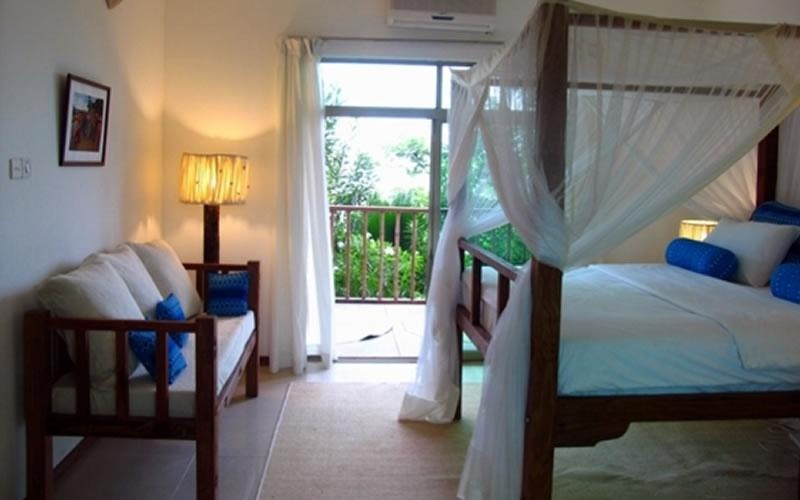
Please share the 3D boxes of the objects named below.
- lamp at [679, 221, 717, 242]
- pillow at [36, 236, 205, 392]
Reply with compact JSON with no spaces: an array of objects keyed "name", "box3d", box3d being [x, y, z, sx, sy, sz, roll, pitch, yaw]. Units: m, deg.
[{"name":"lamp","box3d":[2.651,-0.170,4.990,0.220,0.162,0.220,0,0,-36]},{"name":"pillow","box3d":[-1.859,0.264,3.697,0.654,0.664,1.674,2,4,-5]}]
